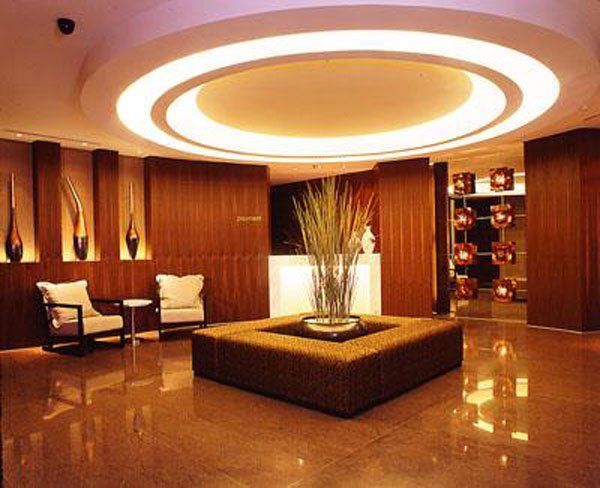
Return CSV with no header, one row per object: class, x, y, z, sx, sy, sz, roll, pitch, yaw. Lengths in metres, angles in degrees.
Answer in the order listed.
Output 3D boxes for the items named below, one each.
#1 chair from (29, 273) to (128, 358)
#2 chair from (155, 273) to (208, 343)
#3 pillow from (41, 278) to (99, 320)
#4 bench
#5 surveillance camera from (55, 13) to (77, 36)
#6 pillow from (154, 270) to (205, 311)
chair,-2.781,0.911,6.156,0.862,0.887,0.773,-1,-1,34
chair,-1.721,0.921,6.968,0.879,0.970,0.916,-5,-11,8
pillow,-3.023,0.669,6.185,0.489,0.444,0.267,3,-41,-37
bench,0.190,1.064,4.473,2.619,0.632,1.417,-4,2,10
surveillance camera,-1.827,-1.710,3.794,0.099,0.043,0.126,-22,-37,-1
pillow,-1.703,0.694,6.961,0.501,0.516,0.159,-1,-29,-20
